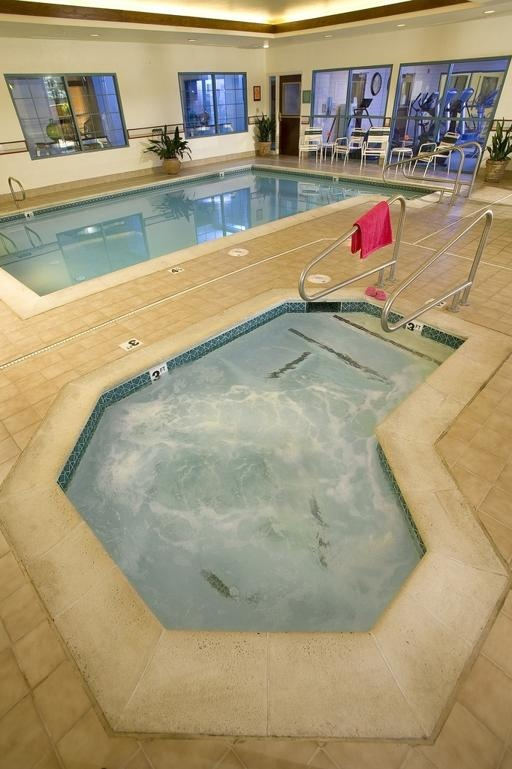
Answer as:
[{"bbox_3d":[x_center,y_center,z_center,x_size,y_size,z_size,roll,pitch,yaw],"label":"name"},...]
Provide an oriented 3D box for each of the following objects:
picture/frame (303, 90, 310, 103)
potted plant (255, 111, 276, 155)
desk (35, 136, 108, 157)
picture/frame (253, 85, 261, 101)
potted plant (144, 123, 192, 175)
[{"bbox_3d":[1.102,-6.416,10.153,0.033,0.255,0.262,-23,38,-28],"label":"picture/frame"},{"bbox_3d":[0.216,-6.160,11.259,0.488,0.890,1.266,-2,33,2],"label":"potted plant"},{"bbox_3d":[-3.270,-4.317,8.230,0.240,0.267,1.604,21,41,33],"label":"desk"},{"bbox_3d":[0.017,-6.939,10.806,0.023,0.334,0.236,28,48,30],"label":"picture/frame"},{"bbox_3d":[-1.661,-4.977,9.608,0.777,0.854,1.288,10,36,20],"label":"potted plant"}]
